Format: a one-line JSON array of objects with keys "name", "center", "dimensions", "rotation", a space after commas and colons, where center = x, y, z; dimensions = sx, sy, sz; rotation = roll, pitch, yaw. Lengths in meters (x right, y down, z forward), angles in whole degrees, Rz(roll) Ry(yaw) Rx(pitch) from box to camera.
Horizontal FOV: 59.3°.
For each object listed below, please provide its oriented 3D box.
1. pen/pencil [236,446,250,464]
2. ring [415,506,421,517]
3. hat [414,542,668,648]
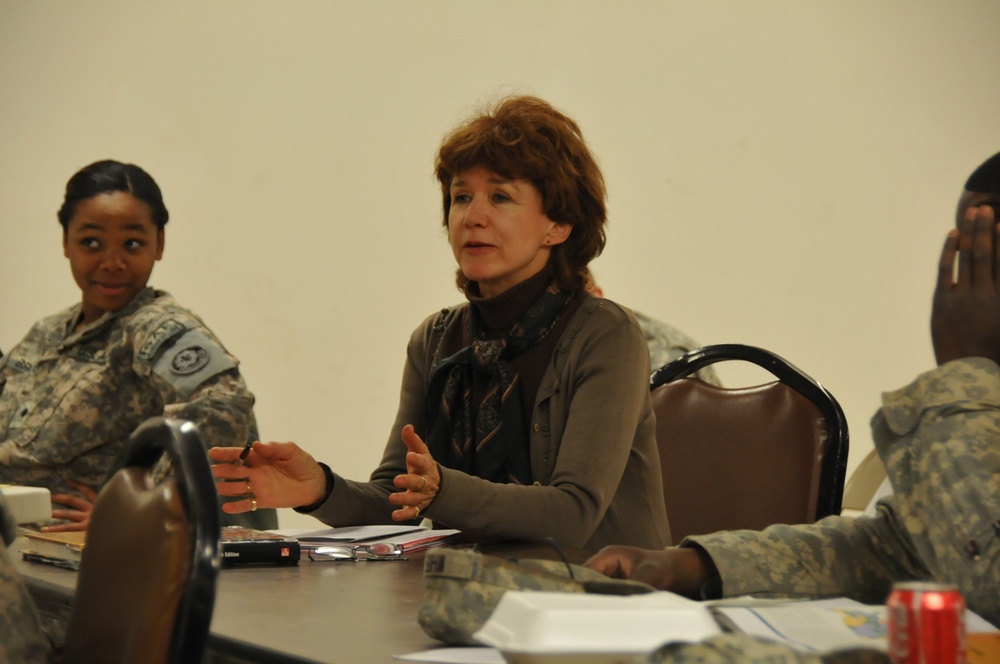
[{"name": "pen/pencil", "center": [-0.424, 0.203, 1.468], "dimensions": [0.018, 0.025, 0.030], "rotation": [13, -20, -43]}, {"name": "ring", "center": [-0.139, 0.307, 1.501], "dimensions": [0.013, 0.017, 0.017], "rotation": [0, -14, -11]}, {"name": "hat", "center": [0.046, 0.315, 1.059], "dimensions": [0.261, 0.110, 0.152], "rotation": [6, -16, -25]}]
